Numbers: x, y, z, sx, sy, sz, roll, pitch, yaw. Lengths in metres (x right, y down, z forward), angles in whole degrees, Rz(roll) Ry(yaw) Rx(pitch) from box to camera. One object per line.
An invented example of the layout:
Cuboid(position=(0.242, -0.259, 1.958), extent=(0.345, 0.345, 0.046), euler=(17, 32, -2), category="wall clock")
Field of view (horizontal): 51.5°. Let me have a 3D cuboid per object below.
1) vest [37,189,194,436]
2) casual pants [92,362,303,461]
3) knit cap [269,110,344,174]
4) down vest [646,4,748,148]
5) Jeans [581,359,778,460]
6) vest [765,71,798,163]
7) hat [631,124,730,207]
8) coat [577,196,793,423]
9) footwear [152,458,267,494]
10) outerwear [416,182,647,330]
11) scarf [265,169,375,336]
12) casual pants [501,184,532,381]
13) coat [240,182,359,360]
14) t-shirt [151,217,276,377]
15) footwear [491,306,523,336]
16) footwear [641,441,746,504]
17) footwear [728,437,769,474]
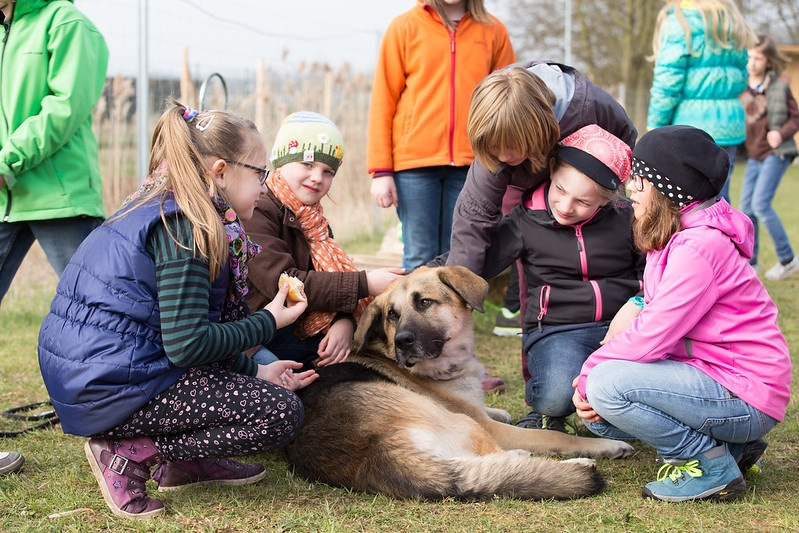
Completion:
Cuboid(position=(-1.804, 0.412, 5.779), extent=(1.123, 2.045, 1.667), euler=(0, -7, -20), category="vest")
Cuboid(position=(-1.185, 0.878, 5.151), extent=(1.062, 0.412, 0.557), euler=(5, -2, -10), category="casual pants")
Cuboid(position=(-0.655, -0.929, 6.218), extent=(0.489, 0.413, 0.390), euler=(5, 1, 6), category="knit cap")
Cuboid(position=(2.859, -1.844, 7.982), extent=(0.904, 1.367, 0.611), euler=(5, 13, 9), category="down vest")
Cuboid(position=(1.685, 0.879, 5.156), extent=(0.847, 0.406, 0.682), euler=(-12, -6, 11), category="Jeans")
Cuboid(position=(4.442, -1.795, 9.885), extent=(0.307, 0.914, 0.659), euler=(4, 0, 22), category="vest")
Cuboid(position=(1.713, -0.643, 5.313), extent=(0.535, 0.433, 0.465), euler=(36, 8, -10), category="hat")
Cuboid(position=(1.789, 0.220, 5.660), extent=(1.292, 1.383, 1.009), euler=(5, -1, 11), category="coat")
Cuboid(position=(-1.214, 1.341, 5.443), extent=(0.713, 0.300, 0.254), euler=(-2, 2, -13), category="footwear")
Cuboid(position=(1.309, 0.025, 6.388), extent=(2.302, 1.209, 0.766), euler=(1, -8, -11), category="outerwear")
Cuboid(position=(-0.617, -0.166, 6.231), extent=(0.447, 1.258, 0.687), euler=(-33, 32, -26), category="scarf")
Cuboid(position=(1.005, 0.073, 7.000), extent=(0.364, 1.456, 0.430), euler=(-1, 7, -5), category="casual pants")
Cuboid(position=(-0.697, 0.084, 6.316), extent=(1.054, 1.398, 0.974), euler=(6, -13, -29), category="coat")
Cuboid(position=(-1.054, 0.131, 5.403), extent=(0.765, 0.954, 0.972), euler=(13, 5, -2), category="t-shirt")
Cuboid(position=(1.034, 0.585, 8.185), extent=(0.141, 0.291, 0.415), euler=(5, 4, 42), category="footwear")
Cuboid(position=(1.833, 1.331, 5.328), extent=(0.677, 0.466, 0.291), euler=(0, -8, 6), category="footwear")
Cuboid(position=(2.184, 1.225, 5.264), extent=(0.136, 0.185, 0.412), euler=(-25, -10, 12), category="footwear")
